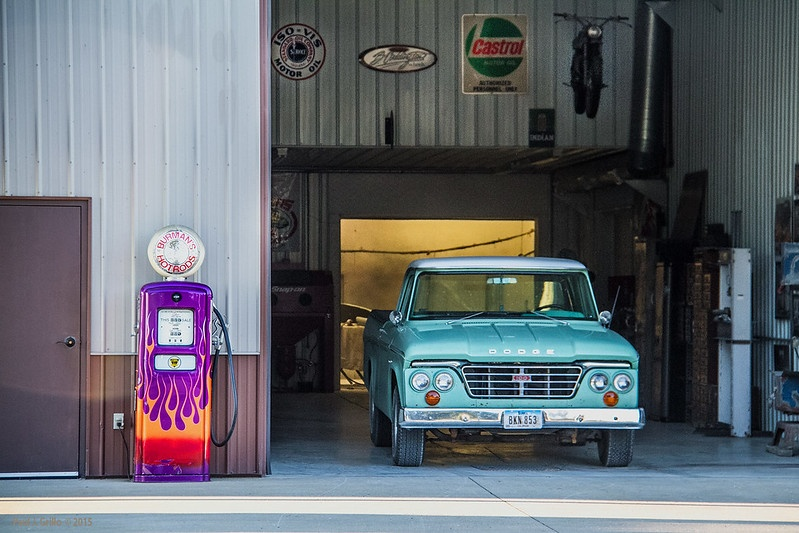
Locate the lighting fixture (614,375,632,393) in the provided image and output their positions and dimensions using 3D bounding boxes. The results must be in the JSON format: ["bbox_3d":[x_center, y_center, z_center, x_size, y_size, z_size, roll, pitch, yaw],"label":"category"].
[{"bbox_3d":[2.740,1.436,15.811,0.224,0.212,0.040,0,-4,-15],"label":"lighting fixture"}]

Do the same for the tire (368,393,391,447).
[{"bbox_3d":[-0.278,2.086,17.398,0.267,0.846,0.821,1,-2,-6],"label":"tire"}]

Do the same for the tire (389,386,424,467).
[{"bbox_3d":[0.089,1.981,15.968,0.322,1.033,1.002,0,-3,-7],"label":"tire"}]

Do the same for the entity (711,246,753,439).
[{"bbox_3d":[4.886,1.115,18.840,0.522,2.744,0.315,-1,-4,15],"label":"entity"}]

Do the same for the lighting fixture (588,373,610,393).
[{"bbox_3d":[2.440,1.431,15.790,0.215,0.227,0.052,2,-5,-3],"label":"lighting fixture"}]

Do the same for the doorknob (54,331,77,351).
[{"bbox_3d":[-4.031,0.926,15.458,0.207,0.148,0.105,-6,7,-10],"label":"doorknob"}]

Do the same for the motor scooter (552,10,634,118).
[{"bbox_3d":[3.292,-3.339,21.532,1.019,1.264,2.020,2,6,-1],"label":"motor scooter"}]
